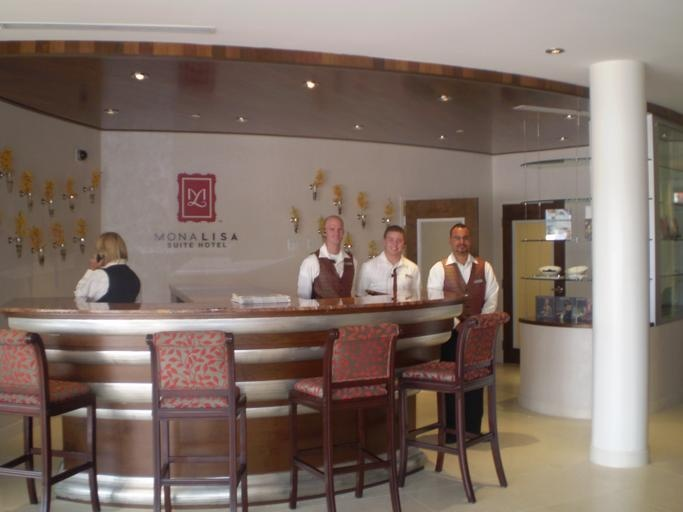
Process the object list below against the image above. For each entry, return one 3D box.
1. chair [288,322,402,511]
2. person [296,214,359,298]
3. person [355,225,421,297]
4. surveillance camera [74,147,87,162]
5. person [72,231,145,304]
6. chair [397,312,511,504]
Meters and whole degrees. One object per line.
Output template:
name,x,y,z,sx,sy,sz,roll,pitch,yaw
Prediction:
chair,0.023,1.150,4.533,0.837,1.415,0.665,0,5,1
person,-0.131,0.005,5.757,0.522,0.762,0.336,-1,5,-16
person,0.458,0.064,5.759,0.617,0.677,0.804,0,5,0
surveillance camera,-3.269,-1.274,7.721,0.025,0.116,0.197,0,3,13
person,-2.038,0.093,5.383,0.500,0.601,0.901,-1,5,-17
chair,0.887,1.112,4.905,0.726,1.350,0.654,-1,-3,36
